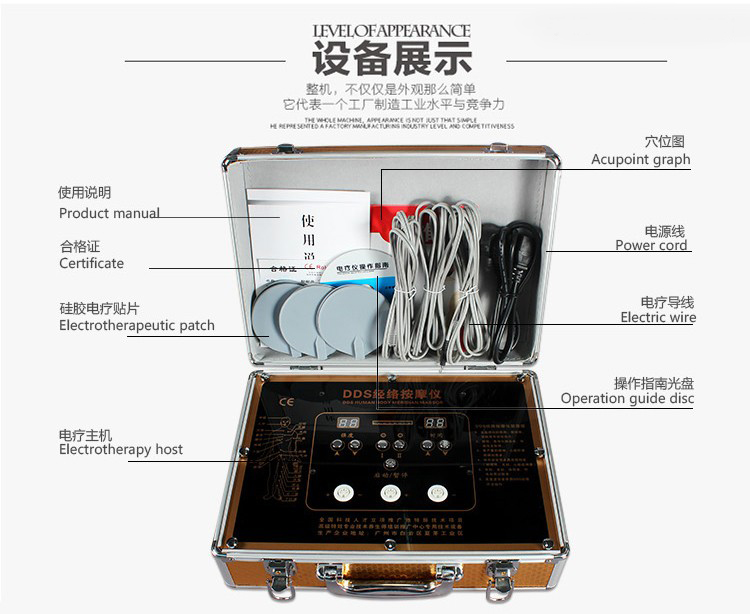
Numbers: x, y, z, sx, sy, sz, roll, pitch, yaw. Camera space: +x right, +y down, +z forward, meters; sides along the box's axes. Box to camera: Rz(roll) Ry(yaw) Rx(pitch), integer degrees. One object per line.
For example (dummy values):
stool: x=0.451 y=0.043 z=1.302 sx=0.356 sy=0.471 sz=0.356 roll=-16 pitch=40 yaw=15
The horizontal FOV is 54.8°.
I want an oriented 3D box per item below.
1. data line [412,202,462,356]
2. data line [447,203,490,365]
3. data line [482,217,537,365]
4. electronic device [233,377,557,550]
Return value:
data line: x=0.229 y=-0.091 z=2.660 sx=0.193 sy=0.530 sz=0.144 roll=-6 pitch=38 yaw=-2
data line: x=0.340 y=-0.079 z=2.664 sx=0.165 sy=0.572 sz=0.127 roll=1 pitch=16 yaw=20
data line: x=0.505 y=-0.054 z=2.719 sx=0.154 sy=0.524 sz=0.120 roll=7 pitch=19 yaw=9
electronic device: x=0.074 y=0.595 z=2.605 sx=0.861 sy=0.204 sz=0.572 roll=0 pitch=46 yaw=1
